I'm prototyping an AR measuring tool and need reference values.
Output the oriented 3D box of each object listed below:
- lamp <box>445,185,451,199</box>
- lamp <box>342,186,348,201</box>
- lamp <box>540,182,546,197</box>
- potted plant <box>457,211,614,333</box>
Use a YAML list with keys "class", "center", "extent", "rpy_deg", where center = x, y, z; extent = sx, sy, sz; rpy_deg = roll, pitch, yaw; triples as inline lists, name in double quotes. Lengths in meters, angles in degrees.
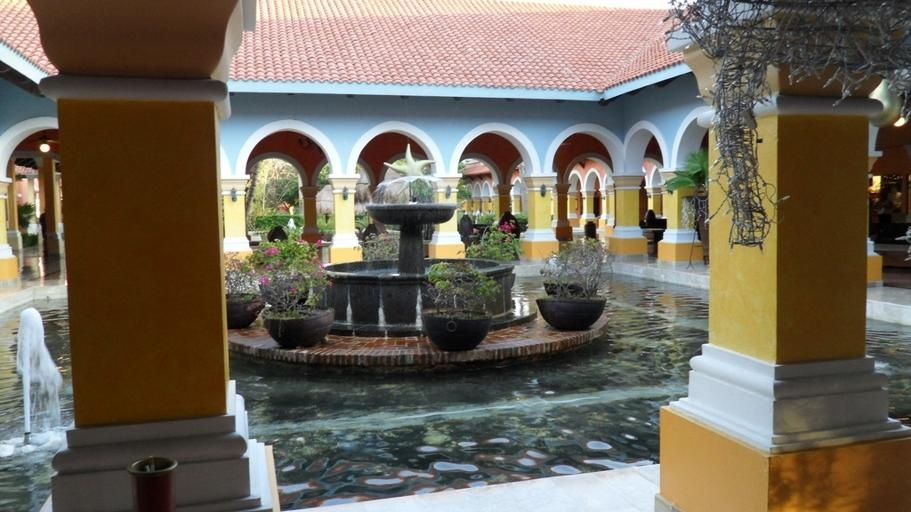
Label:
- class: "lamp"
  center: [-0.171, -1.878, 17.321]
  extent: [0.178, 0.393, 0.300]
  rpy_deg: [2, 10, 23]
- class: "lamp"
  center: [-3.123, -1.769, 16.796]
  extent: [0.172, 0.330, 0.059]
  rpy_deg: [1, 10, 16]
- class: "lamp"
  center: [2.644, -1.962, 17.738]
  extent: [0.226, 0.372, 0.064]
  rpy_deg: [-8, 11, -35]
- class: "potted plant"
  center: [1.250, 0.211, 9.044]
  extent: [2.076, 0.885, 1.682]
  rpy_deg: [3, 10, 27]
